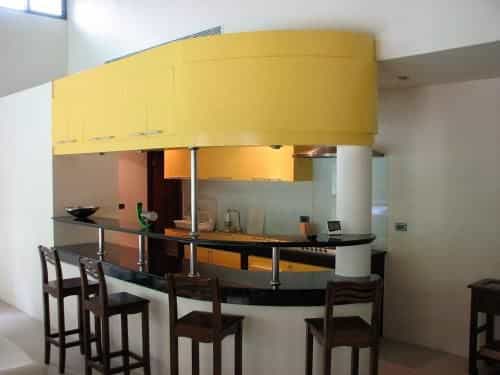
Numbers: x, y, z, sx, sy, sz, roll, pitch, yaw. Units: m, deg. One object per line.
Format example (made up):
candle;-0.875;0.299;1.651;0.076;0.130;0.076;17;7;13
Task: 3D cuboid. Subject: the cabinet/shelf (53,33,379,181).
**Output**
cabinet/shelf;-0.541;-0.943;4.587;3.493;1.081;0.571;0;1;23

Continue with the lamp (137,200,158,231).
lamp;-1.172;0.294;4.895;0.194;0.276;0.110;6;14;18

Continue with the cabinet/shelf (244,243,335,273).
cabinet/shelf;0.524;0.954;5.792;1.307;0.355;0.222;1;2;32

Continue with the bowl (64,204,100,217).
bowl;-2.269;0.315;5.889;0.414;0.138;0.312;-1;1;-21

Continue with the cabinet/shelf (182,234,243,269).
cabinet/shelf;-0.443;1.009;6.581;0.082;0.287;1.196;-1;2;-45
